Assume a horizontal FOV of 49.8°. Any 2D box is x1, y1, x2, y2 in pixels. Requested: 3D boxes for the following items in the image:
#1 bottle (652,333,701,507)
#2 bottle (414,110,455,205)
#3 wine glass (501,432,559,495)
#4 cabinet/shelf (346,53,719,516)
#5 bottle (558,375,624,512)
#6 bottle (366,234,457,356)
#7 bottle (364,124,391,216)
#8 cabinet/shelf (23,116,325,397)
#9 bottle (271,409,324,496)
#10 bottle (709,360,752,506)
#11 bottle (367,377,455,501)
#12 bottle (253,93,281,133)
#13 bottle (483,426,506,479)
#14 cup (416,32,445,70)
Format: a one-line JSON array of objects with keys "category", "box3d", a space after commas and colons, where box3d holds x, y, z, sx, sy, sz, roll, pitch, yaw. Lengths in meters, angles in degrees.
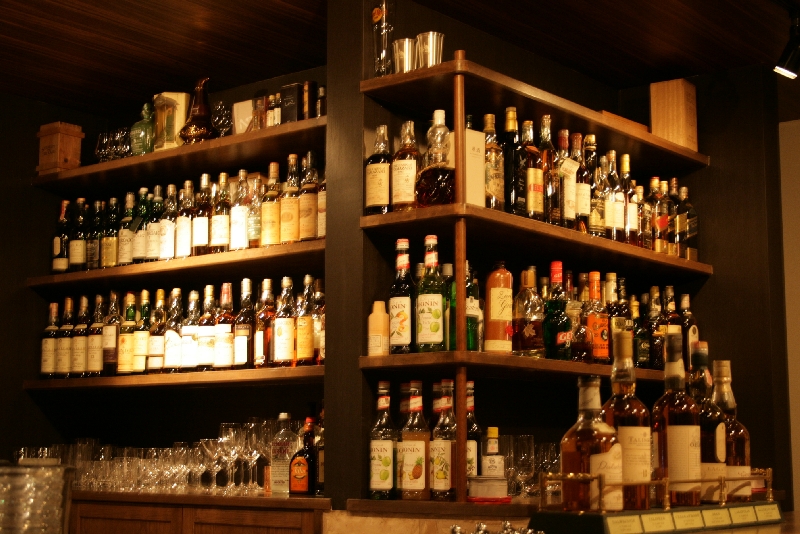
[{"category": "bottle", "box3d": [0.848, 0.458, 2.674, 0.154, 0.542, 0.298, -5, -14, 18]}, {"category": "bottle", "box3d": [0.152, -0.455, 3.677, 0.098, 0.399, 0.195, 11, -17, -40]}, {"category": "wine glass", "box3d": [0.559, 0.845, 3.672, 0.208, 0.247, 0.338, -4, -13, 16]}, {"category": "cabinet/shelf", "box3d": [0.501, 0.084, 3.709, 0.600, 1.600, 2.048, -7, -9, 40]}, {"category": "bottle", "box3d": [0.555, 0.510, 2.496, 0.180, 0.373, 0.125, -2, -13, 5]}, {"category": "bottle", "box3d": [0.043, 0.127, 3.698, 0.387, 0.500, 0.189, -13, -18, 42]}, {"category": "bottle", "box3d": [-0.085, -0.436, 3.799, 0.128, 0.421, 0.138, -1, -13, 0]}, {"category": "cabinet/shelf", "box3d": [-1.150, -0.035, 4.548, 1.518, 0.815, 0.463, -8, -14, 35]}, {"category": "bottle", "box3d": [-0.496, 0.867, 4.020, 0.203, 0.373, 0.361, 3, -13, -15]}, {"category": "bottle", "box3d": [1.108, 0.570, 2.959, 0.152, 0.450, 0.148, 4, -12, 1]}, {"category": "bottle", "box3d": [0.054, 0.729, 3.652, 0.375, 0.481, 0.239, -2, -13, 8]}, {"category": "bottle", "box3d": [-0.650, -0.779, 4.308, 0.074, 0.245, 0.217, 8, -16, -33]}, {"category": "bottle", "box3d": [0.385, 0.764, 3.579, 0.083, 0.190, 0.163, -2, -13, 5]}, {"category": "cup", "box3d": [0.123, -0.947, 3.811, 0.154, 0.162, 0.160, -1, 7, 0]}]
